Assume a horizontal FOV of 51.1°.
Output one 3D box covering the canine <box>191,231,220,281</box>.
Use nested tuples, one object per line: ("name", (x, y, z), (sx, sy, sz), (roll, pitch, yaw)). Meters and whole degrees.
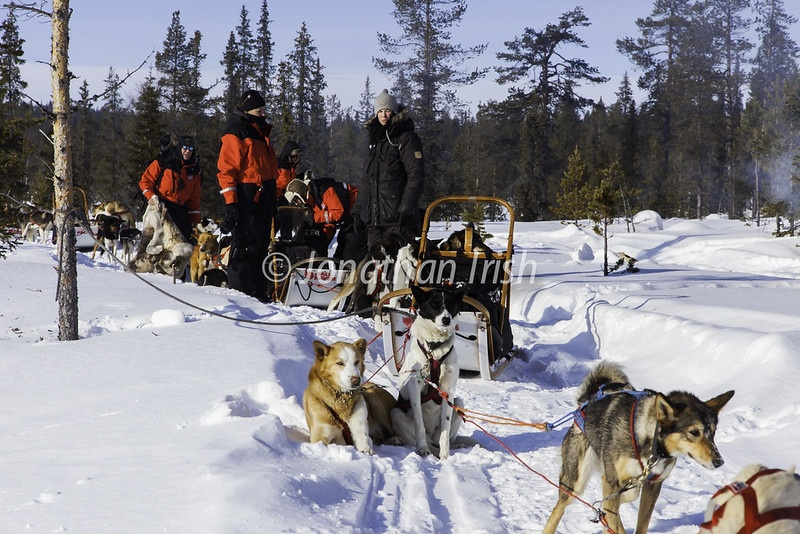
("canine", (-3.911, -0.190, 16.675), (0.559, 0.978, 0.407), (1, 4, -9))

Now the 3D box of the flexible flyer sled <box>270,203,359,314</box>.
("flexible flyer sled", (-1.674, -0.232, 16.376), (2.024, 1.864, 2.495), (2, 4, 4))

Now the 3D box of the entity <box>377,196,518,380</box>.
("entity", (0.651, 0.406, 14.323), (1.951, 2.820, 3.086), (0, 1, 12))

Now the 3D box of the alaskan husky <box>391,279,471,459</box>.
("alaskan husky", (0.443, 1.408, 12.076), (0.974, 2.398, 1.697), (1, -1, 4))

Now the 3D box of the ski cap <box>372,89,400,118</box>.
("ski cap", (-0.232, -2.849, 14.450), (0.411, 0.452, 0.509), (1, 4, -1))

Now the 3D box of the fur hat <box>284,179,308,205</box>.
("fur hat", (-2.189, -1.578, 17.623), (0.495, 0.548, 0.420), (-7, 17, -10))

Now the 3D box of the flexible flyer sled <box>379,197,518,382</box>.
("flexible flyer sled", (0.563, 0.436, 14.114), (1.933, 2.877, 3.057), (0, 1, 11))
